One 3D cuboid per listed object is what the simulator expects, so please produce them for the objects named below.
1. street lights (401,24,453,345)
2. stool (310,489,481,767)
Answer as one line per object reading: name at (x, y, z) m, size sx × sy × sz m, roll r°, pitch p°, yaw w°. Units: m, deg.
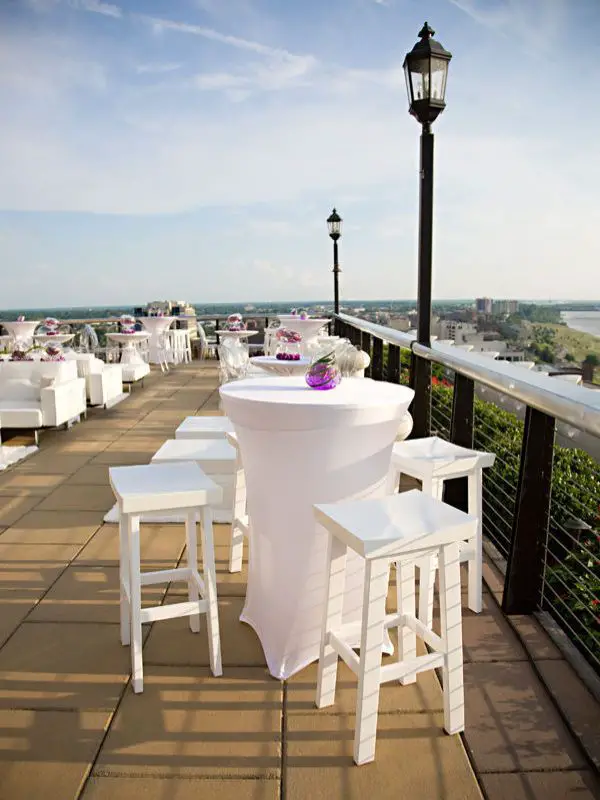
street lights at (0.750, -1.301, 3.575) m, size 0.267 × 1.909 × 0.734 m, roll 0°, pitch 11°, yaw 14°
stool at (0.265, 0.569, 1.627) m, size 0.419 × 0.596 × 0.338 m, roll -6°, pitch 11°, yaw -20°
